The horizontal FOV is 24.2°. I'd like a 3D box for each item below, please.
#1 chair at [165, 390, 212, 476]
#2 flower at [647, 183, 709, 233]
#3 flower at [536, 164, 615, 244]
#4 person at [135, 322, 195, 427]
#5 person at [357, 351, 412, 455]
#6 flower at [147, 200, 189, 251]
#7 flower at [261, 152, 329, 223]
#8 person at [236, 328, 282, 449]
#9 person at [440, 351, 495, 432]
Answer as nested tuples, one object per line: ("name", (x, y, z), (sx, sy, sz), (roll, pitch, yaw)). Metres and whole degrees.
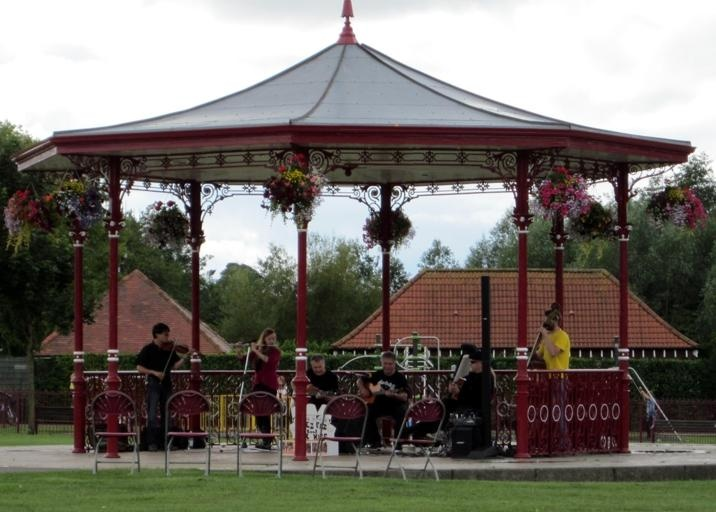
("chair", (-3.220, 3.253, 31.765), (0.741, 1.639, 1.078), (0, -6, -3))
("flower", (6.511, -1.006, 33.993), (0.903, 0.854, 0.909), (5, 1, -24))
("flower", (4.328, -1.102, 33.222), (1.364, 0.867, 1.109), (44, -18, -25))
("person", (-3.892, 2.216, 33.455), (0.841, 2.212, 0.949), (1, -2, 33))
("person", (0.555, 2.826, 33.157), (1.018, 1.913, 0.733), (7, 3, 43))
("flower", (-4.026, -0.697, 35.615), (0.928, 0.920, 0.632), (4, -10, -22))
("flower", (-1.204, -1.371, 32.123), (1.145, 1.416, 0.362), (1, -9, -4))
("person", (-1.904, 2.575, 33.451), (0.753, 2.293, 0.727), (4, -6, -40))
("person", (2.192, 2.522, 32.763), (0.817, 1.627, 0.834), (-4, -1, 27))
